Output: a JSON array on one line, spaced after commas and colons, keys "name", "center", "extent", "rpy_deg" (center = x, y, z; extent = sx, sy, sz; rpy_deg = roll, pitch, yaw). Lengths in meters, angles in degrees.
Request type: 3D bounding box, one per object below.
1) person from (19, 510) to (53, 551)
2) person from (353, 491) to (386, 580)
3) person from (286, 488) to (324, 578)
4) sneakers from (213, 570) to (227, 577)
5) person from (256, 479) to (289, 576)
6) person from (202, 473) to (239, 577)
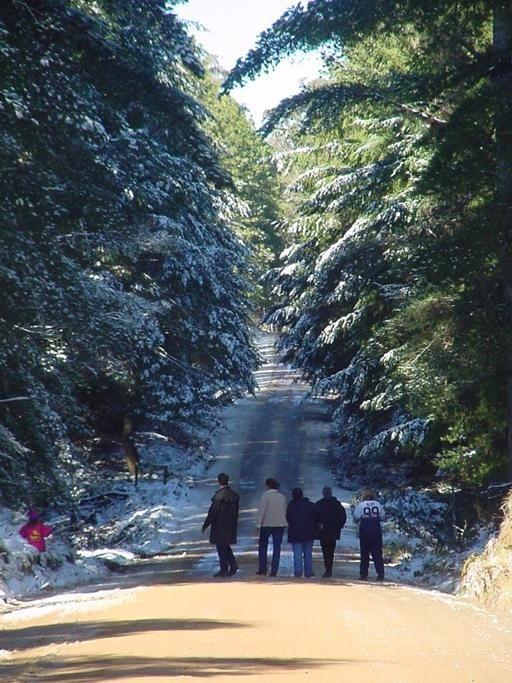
[{"name": "person", "center": [-3.484, 3.004, 13.703], "extent": [0.460, 0.729, 1.144], "rpy_deg": [-4, -5, -17]}, {"name": "person", "center": [1.684, 2.871, 12.837], "extent": [0.452, 1.357, 0.899], "rpy_deg": [-6, -4, 5]}, {"name": "person", "center": [0.703, 2.799, 12.709], "extent": [0.477, 1.280, 0.847], "rpy_deg": [-6, -4, 2]}, {"name": "sneakers", "center": [-0.506, 3.311, 12.390], "extent": [0.185, 0.063, 0.207], "rpy_deg": [-5, -5, 4]}, {"name": "person", "center": [0.226, 2.774, 12.958], "extent": [0.521, 1.465, 1.488], "rpy_deg": [-6, -5, 1]}, {"name": "person", "center": [-0.480, 2.658, 12.493], "extent": [0.514, 1.501, 0.964], "rpy_deg": [-5, -4, -4]}]
